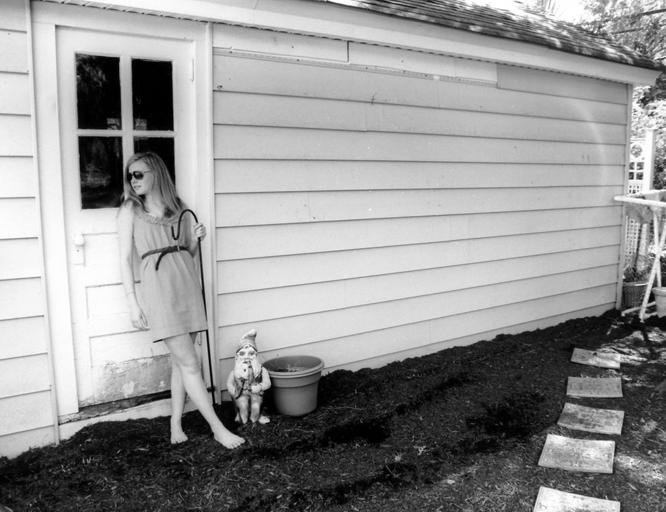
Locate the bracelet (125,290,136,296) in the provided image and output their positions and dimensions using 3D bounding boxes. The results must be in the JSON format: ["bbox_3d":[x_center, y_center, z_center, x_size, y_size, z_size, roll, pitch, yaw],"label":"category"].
[{"bbox_3d":[-1.330,0.237,3.409,0.035,0.026,0.036,1,-1,28],"label":"bracelet"}]

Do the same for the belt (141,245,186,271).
[{"bbox_3d":[-1.126,0.000,3.504,0.209,0.064,0.158,-17,2,-38],"label":"belt"}]

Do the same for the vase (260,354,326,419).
[{"bbox_3d":[-0.321,0.964,3.965,0.410,0.305,0.426,-2,0,43],"label":"vase"}]

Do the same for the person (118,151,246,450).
[{"bbox_3d":[-1.082,0.285,3.499,0.571,1.916,0.642,-8,13,-23],"label":"person"}]

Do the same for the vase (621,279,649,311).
[{"bbox_3d":[3.848,0.504,6.697,0.329,0.284,0.361,0,-3,31],"label":"vase"}]

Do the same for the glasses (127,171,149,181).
[{"bbox_3d":[-1.295,-0.519,3.430,0.120,0.067,0.040,-1,12,8],"label":"glasses"}]
